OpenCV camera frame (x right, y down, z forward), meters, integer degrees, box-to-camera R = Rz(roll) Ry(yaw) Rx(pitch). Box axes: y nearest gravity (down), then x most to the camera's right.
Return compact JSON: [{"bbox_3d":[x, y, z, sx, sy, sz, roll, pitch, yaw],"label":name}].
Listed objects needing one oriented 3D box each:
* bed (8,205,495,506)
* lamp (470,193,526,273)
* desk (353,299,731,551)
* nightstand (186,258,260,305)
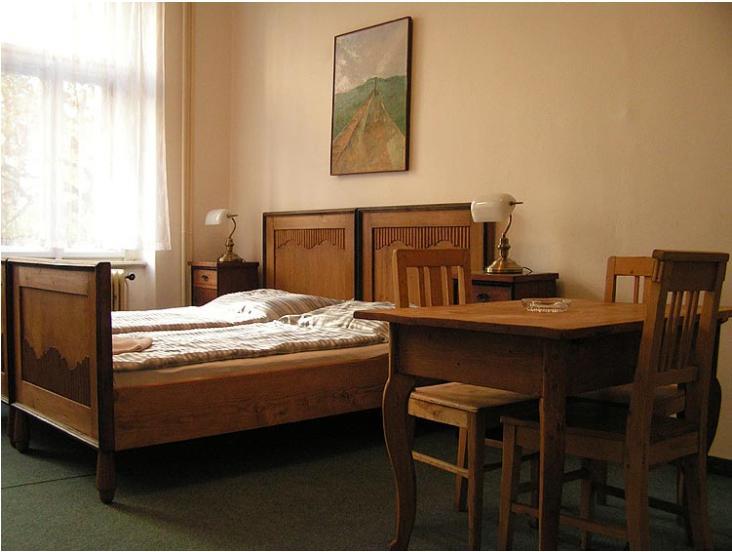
[{"bbox_3d":[-0.724,0.435,3.519,1.975,1.190,1.960,0,0,-37],"label":"bed"},{"bbox_3d":[0.843,-0.279,3.800,0.281,0.500,0.351,-9,8,-43],"label":"lamp"},{"bbox_3d":[0.572,0.285,2.123,1.132,0.880,0.831,-1,0,-43],"label":"desk"},{"bbox_3d":[-1.379,0.113,5.562,0.536,0.543,0.433,5,5,41],"label":"nightstand"}]
